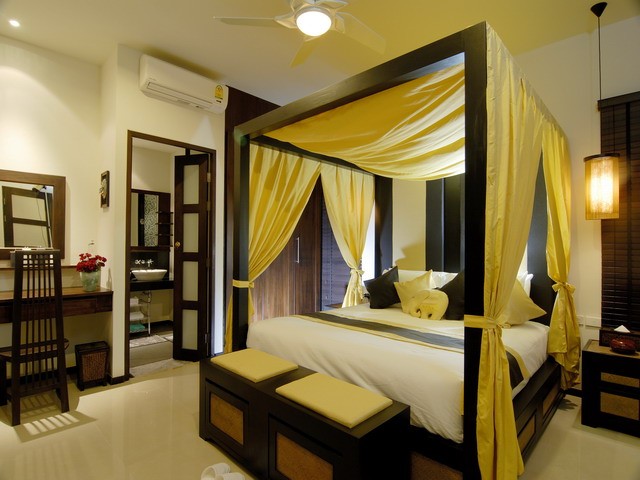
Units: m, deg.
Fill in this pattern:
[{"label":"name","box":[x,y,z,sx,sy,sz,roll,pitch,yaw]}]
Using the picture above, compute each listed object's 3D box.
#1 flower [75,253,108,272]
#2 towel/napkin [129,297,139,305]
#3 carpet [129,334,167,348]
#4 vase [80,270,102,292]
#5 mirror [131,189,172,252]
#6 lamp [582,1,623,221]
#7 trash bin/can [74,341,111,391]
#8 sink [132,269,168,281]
[{"label":"flower","box":[-2.496,0.249,5.121,0.228,0.178,0.245,7,3,7]},{"label":"towel/napkin","box":[-2.668,0.894,6.791,0.104,0.139,0.210,-2,0,-19]},{"label":"carpet","box":[-2.390,1.406,6.600,0.629,0.044,0.473,-2,0,-44]},{"label":"vase","box":[-2.463,0.437,5.145,0.206,0.252,0.222,-1,-2,17]},{"label":"mirror","box":[-2.550,-0.308,7.057,0.273,0.948,0.864,-1,-2,39]},{"label":"lamp","box":[2.807,-1.240,4.708,0.319,2.074,0.412,-1,1,34]},{"label":"trash bin/can","box":[-2.425,1.318,5.096,0.407,0.621,0.377,2,-5,-39]},{"label":"sink","box":[-2.517,0.508,6.960,0.334,0.172,0.481,-2,0,23]}]
